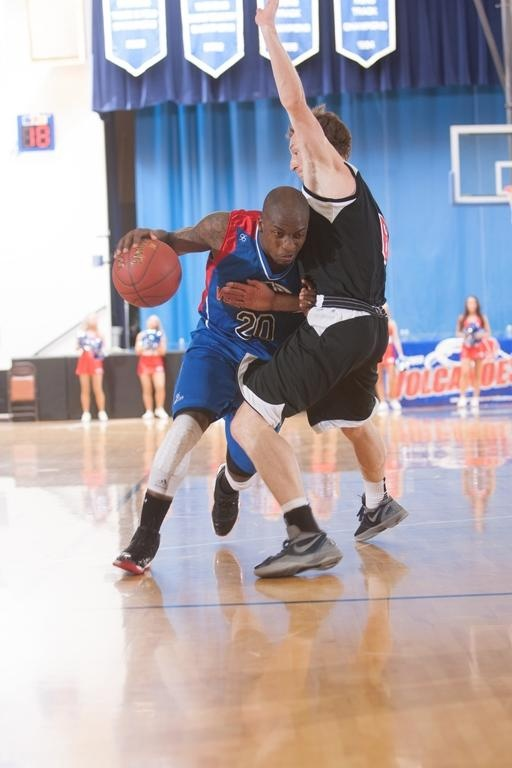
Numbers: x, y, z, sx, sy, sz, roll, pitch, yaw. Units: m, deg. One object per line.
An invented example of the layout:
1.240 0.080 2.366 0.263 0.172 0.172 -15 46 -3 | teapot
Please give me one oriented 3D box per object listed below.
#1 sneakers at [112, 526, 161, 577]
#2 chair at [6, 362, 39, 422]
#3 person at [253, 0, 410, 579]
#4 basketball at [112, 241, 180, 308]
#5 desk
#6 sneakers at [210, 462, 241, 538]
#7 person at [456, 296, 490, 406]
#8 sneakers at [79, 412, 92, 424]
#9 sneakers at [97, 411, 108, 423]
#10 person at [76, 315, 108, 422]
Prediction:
-0.303 0.437 1.830 0.059 0.072 0.171 4 -6 10 | sneakers
-3.023 0.087 9.205 0.349 0.765 0.217 -3 5 -20 | chair
0.187 -0.219 1.934 0.318 1.451 0.583 2 6 36 | person
-0.316 -0.316 2.024 0.199 0.183 0.198 -1 5 -1 | basketball
-2.028 0.065 9.445 1.926 0.863 0.582 -1 -6 -17 | desk
-0.094 0.371 2.266 0.077 0.230 0.097 -4 16 -16 | sneakers
2.594 -0.407 8.547 0.372 1.284 0.875 0 5 21 | person
-2.095 0.414 8.715 0.096 0.120 0.281 1 4 -3 | sneakers
-1.909 0.408 8.835 0.089 0.097 0.245 -2 -5 -11 | sneakers
-2.070 -0.181 8.911 0.357 1.264 0.538 -3 5 -14 | person
